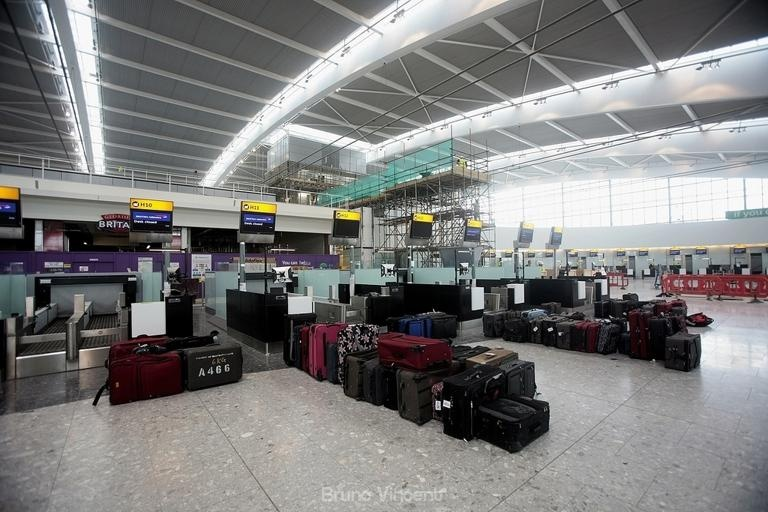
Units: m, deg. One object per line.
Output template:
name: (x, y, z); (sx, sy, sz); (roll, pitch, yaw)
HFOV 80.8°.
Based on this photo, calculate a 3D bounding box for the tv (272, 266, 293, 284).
tv: (-3.789, 0.692, 16.862); (0.613, 0.528, 1.175); (0, 0, -14)

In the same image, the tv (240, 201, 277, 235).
tv: (-3.984, -1.193, 14.169); (1.454, 1.088, 0.451); (1, -3, -32)

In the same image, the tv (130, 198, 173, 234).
tv: (-7.867, -1.334, 15.189); (1.384, 1.034, 0.452); (0, -1, -29)

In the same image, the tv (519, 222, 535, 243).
tv: (5.846, -0.943, 18.649); (0.929, 0.567, 0.337); (1, 0, -40)

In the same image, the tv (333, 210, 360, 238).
tv: (-1.273, -1.065, 14.983); (1.081, 0.946, 0.333); (1, 0, -33)
